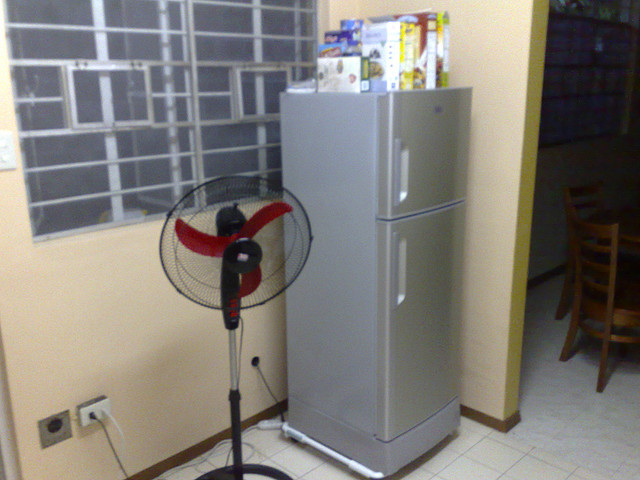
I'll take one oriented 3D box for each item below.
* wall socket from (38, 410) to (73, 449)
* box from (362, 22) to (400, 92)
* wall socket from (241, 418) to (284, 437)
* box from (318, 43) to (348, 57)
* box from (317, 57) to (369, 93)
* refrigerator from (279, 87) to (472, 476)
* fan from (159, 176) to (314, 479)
[{"bbox_3d":[-1.219,0.874,2.562,0.134,0.014,0.148,-15,49,-22],"label":"wall socket"},{"bbox_3d":[0.288,-0.867,2.636,0.183,0.304,0.132,2,20,16],"label":"box"},{"bbox_3d":[-0.323,1.085,3.248,0.163,0.039,0.098,-4,10,-14],"label":"wall socket"},{"bbox_3d":[0.054,-0.957,2.803,0.184,0.065,0.060,11,24,37],"label":"box"},{"bbox_3d":[0.119,-0.821,2.744,0.273,0.167,0.090,15,21,38],"label":"box"},{"bbox_3d":[0.261,0.194,2.875,0.981,1.862,0.761,1,20,14],"label":"refrigerator"},{"bbox_3d":[-0.326,0.399,2.470,0.619,1.382,0.274,-10,20,-17],"label":"fan"}]
